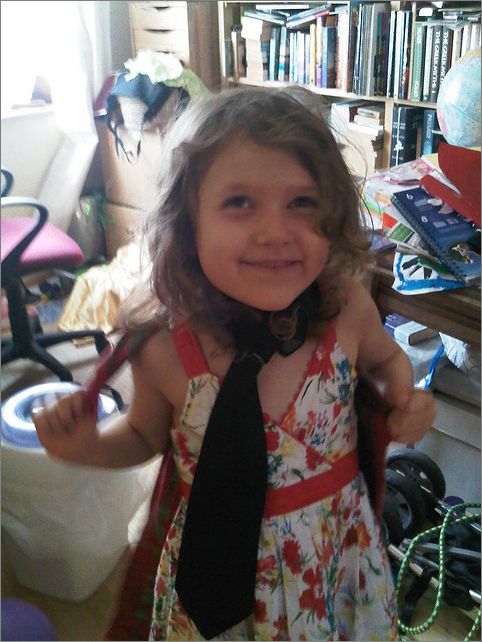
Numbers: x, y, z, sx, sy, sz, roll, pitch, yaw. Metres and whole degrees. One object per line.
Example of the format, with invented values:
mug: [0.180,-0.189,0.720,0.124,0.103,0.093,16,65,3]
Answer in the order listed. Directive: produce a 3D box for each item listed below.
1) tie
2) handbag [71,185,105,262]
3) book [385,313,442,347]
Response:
tie: [0.005,0.118,0.434,0.117,0.366,0.040,5,10,-15]
handbag: [-0.163,-0.102,0.525,0.043,0.062,0.049,-10,16,-20]
book: [0.416,0.019,1.217,0.102,0.026,0.103,-26,44,-25]
